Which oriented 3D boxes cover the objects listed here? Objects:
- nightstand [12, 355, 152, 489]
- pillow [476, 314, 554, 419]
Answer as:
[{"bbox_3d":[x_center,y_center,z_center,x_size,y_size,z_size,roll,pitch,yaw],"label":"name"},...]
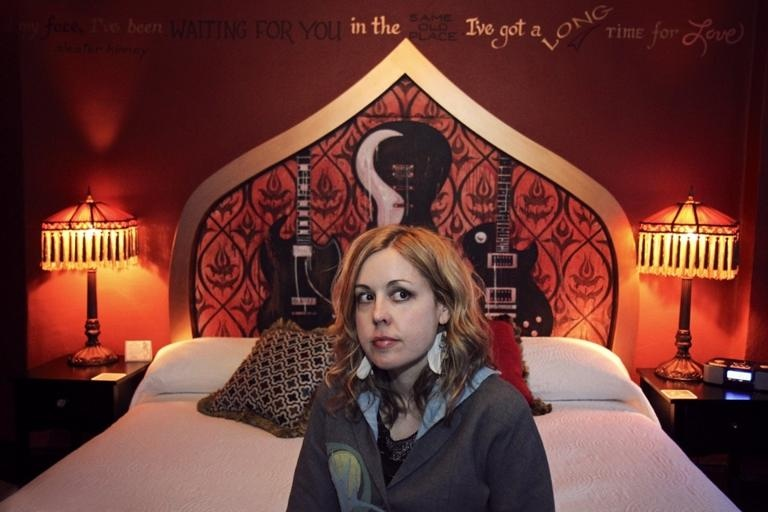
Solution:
[{"bbox_3d":[-1.998,1.034,4.309,0.759,1.111,0.797,1,6,13],"label":"nightstand"},{"bbox_3d":[0.715,0.670,3.753,0.200,0.632,0.535,-21,-50,13],"label":"pillow"}]
